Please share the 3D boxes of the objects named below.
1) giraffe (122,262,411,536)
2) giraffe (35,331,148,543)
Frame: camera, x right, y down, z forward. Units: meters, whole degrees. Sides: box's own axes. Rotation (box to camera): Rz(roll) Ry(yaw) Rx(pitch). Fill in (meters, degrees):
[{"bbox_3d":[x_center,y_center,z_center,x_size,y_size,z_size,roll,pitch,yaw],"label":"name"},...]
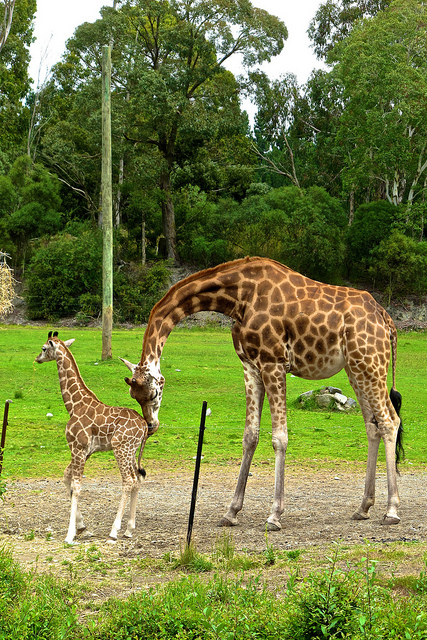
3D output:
[{"bbox_3d":[0.654,0.881,9.153,3.369,2.946,0.970,-1,1,-11],"label":"giraffe"},{"bbox_3d":[-1.201,1.125,8.151,0.818,1.508,1.200,3,2,-44],"label":"giraffe"}]
